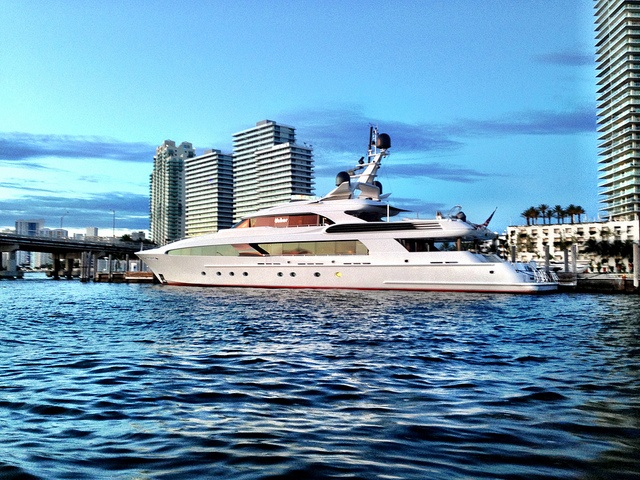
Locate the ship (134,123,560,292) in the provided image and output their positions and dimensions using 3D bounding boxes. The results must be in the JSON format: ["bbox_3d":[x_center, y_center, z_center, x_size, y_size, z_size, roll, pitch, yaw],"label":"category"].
[{"bbox_3d":[-0.354,-0.816,38.029,27.853,6.192,6.049,-1,10,35],"label":"ship"}]
